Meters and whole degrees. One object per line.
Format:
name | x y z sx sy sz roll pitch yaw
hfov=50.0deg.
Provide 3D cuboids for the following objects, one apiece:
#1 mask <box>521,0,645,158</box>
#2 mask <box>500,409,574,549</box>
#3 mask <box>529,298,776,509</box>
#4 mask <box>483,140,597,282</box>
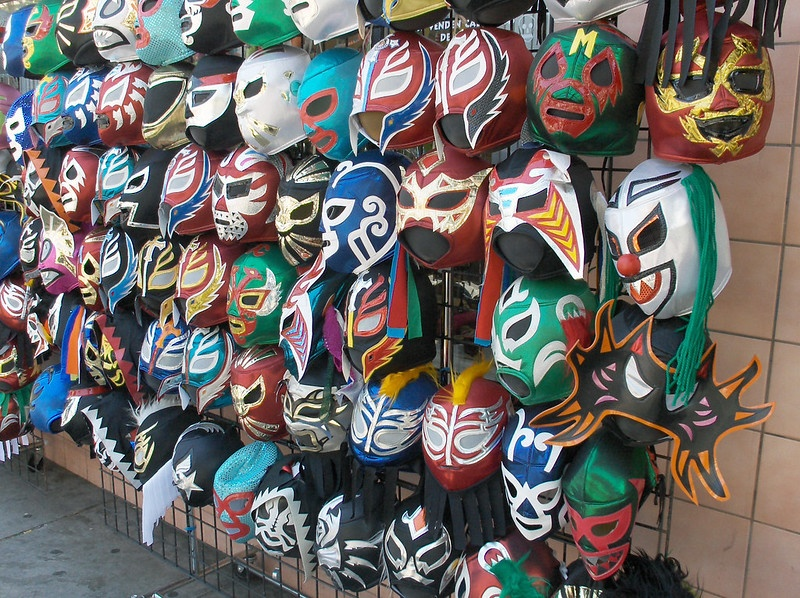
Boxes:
mask | 0.336 -0.398 1.513 0.197 0.256 0.256 10 21 27
mask | 0.288 0.331 1.712 0.128 0.241 0.225 6 30 27
mask | 0.468 0.190 1.609 0.330 0.305 0.072 21 31 20
mask | 0.251 -0.168 1.646 0.216 0.333 0.207 -6 5 -37
